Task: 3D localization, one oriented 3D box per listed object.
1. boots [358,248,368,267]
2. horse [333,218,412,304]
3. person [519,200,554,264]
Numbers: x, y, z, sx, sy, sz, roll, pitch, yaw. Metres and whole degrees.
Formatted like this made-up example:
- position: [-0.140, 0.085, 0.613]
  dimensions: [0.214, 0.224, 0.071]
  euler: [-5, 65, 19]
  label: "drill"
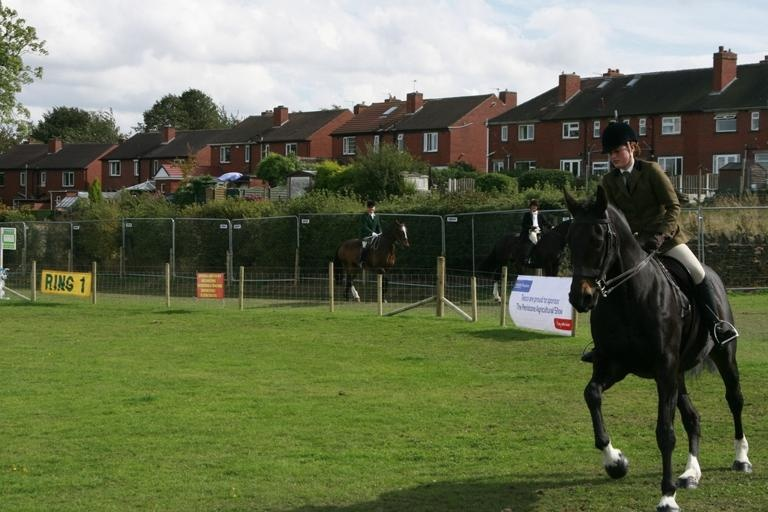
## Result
- position: [-0.789, 0.018, 49.350]
  dimensions: [0.410, 0.736, 0.199]
  euler: [8, 7, 25]
  label: "boots"
- position: [-0.562, 0.217, 49.915]
  dimensions: [2.563, 2.971, 3.546]
  euler: [-1, -2, -7]
  label: "horse"
- position: [5.499, -0.905, 46.725]
  dimensions: [1.109, 2.163, 0.871]
  euler: [-3, 6, -12]
  label: "person"
